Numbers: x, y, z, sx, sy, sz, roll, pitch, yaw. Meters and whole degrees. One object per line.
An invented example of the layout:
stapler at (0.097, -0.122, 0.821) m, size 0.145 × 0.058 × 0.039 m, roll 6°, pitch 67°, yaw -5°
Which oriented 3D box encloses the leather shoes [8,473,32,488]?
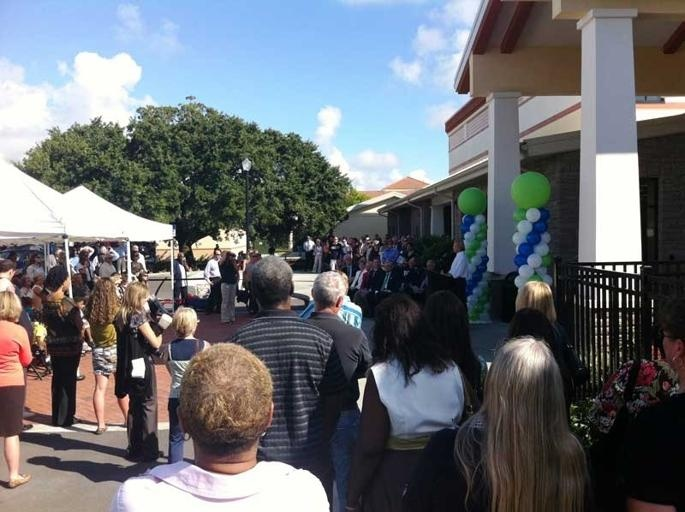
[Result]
leather shoes at (-3.079, 2.155, 6.499) m, size 0.087 × 0.074 × 0.179 m, roll 3°, pitch 8°, yaw 22°
